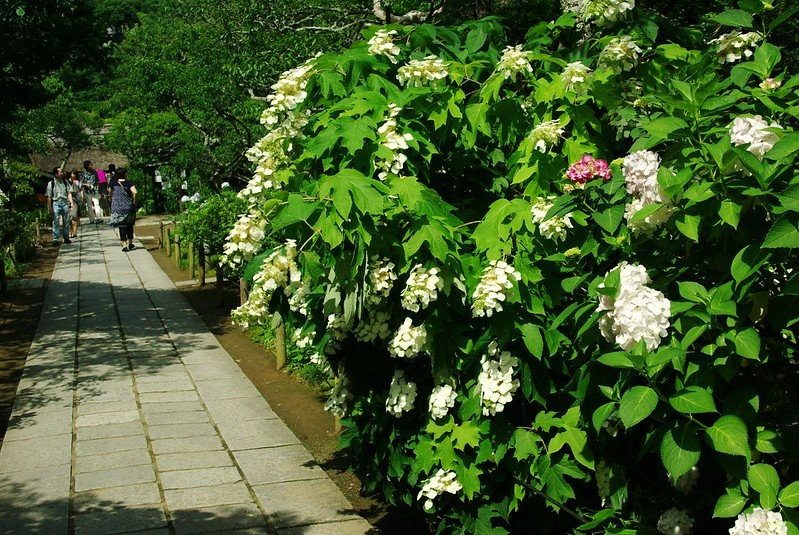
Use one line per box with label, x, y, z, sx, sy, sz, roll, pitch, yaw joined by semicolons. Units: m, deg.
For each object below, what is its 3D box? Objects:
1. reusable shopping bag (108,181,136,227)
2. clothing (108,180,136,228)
reusable shopping bag;-7.363;-1.721;17.023;0.663;1.217;0.510;0;-5;-25
clothing;-7.352;-1.708;17.001;0.695;1.190;0.466;-3;2;-17
